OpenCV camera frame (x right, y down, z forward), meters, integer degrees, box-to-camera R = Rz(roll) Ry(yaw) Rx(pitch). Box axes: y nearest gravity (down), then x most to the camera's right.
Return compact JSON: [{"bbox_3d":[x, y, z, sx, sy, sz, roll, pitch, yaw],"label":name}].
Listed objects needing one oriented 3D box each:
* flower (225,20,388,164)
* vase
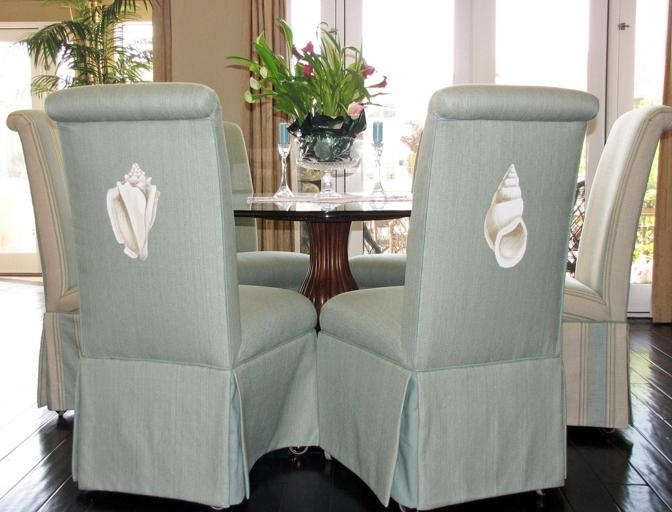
[{"bbox_3d":[-0.109,-0.677,2.666,0.527,0.563,0.477,22,31,24],"label":"flower"},{"bbox_3d":[-0.039,-0.413,2.712,0.270,0.334,0.294,-1,3,-8],"label":"vase"}]
